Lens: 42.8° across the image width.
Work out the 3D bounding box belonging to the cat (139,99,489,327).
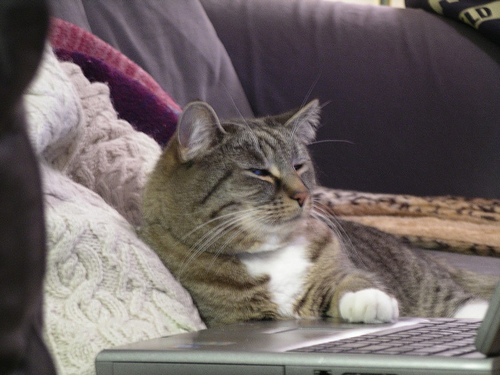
[{"bbox_3d":[0.173,0.104,1.690,0.786,0.425,0.567,3,-5,-19],"label":"cat"}]
